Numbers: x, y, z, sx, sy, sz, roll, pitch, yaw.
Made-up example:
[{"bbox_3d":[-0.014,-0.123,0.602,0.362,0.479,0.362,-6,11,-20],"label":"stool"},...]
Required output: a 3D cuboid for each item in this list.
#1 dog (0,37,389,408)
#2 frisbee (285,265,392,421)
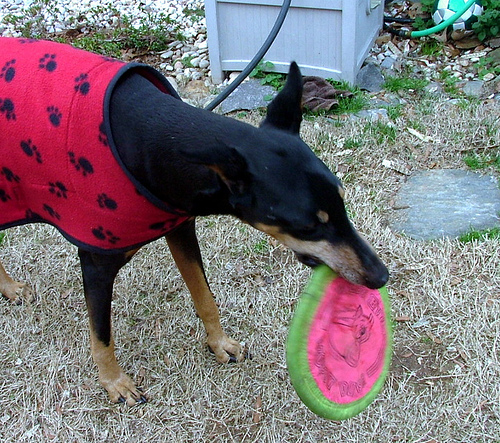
[{"bbox_3d":[-0.338,0.156,2.037,1.597,1.603,0.653,11,41,16],"label":"dog"},{"bbox_3d":[0.374,0.516,1.944,0.104,0.684,0.563,1,65,35],"label":"frisbee"}]
